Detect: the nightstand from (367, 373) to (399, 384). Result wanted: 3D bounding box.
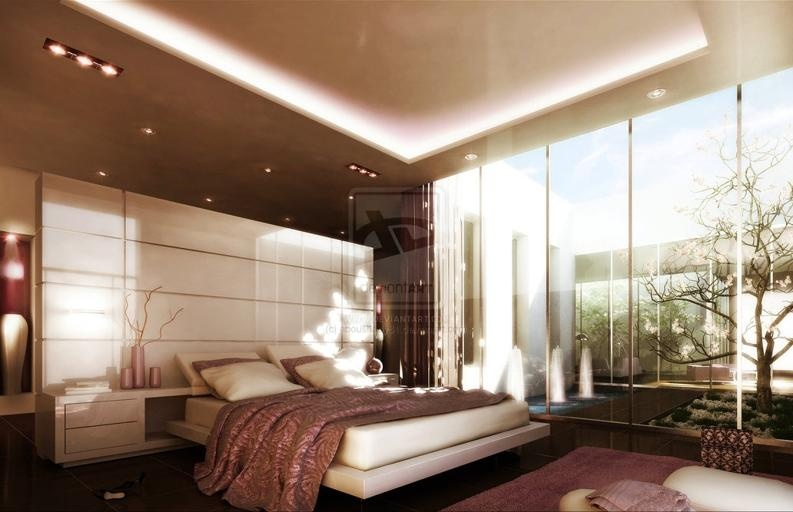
[{"bbox_3d":[-0.170,1.875,8.182,0.426,0.213,0.287,9,-13,-40],"label":"nightstand"}]

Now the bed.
[{"bbox_3d":[-0.245,1.919,5.575,3.469,0.820,1.541,-1,1,-22],"label":"bed"}]

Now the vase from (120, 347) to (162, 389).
[{"bbox_3d":[-3.114,1.348,6.464,0.453,0.522,0.317,-2,2,-22],"label":"vase"}]
